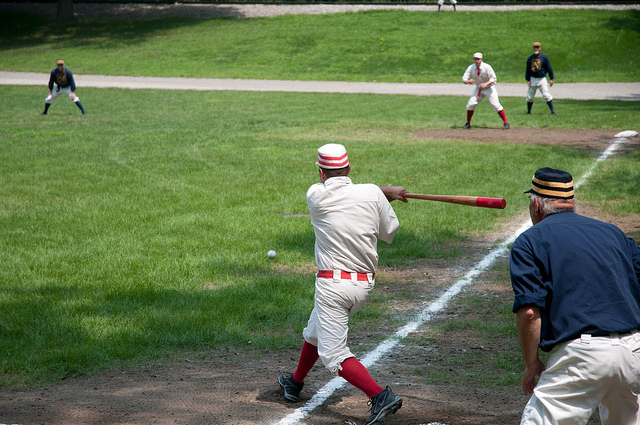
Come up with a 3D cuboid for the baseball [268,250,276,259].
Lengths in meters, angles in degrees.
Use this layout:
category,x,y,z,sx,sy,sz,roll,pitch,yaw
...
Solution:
category,x,y,z,sx,sy,sz,roll,pitch,yaw
baseball,-1.679,1.546,45.076,0.260,0.231,0.245,-1,3,-3
